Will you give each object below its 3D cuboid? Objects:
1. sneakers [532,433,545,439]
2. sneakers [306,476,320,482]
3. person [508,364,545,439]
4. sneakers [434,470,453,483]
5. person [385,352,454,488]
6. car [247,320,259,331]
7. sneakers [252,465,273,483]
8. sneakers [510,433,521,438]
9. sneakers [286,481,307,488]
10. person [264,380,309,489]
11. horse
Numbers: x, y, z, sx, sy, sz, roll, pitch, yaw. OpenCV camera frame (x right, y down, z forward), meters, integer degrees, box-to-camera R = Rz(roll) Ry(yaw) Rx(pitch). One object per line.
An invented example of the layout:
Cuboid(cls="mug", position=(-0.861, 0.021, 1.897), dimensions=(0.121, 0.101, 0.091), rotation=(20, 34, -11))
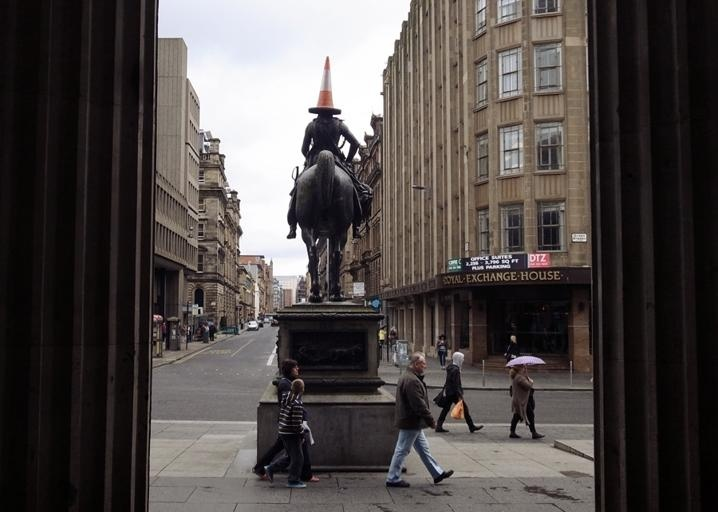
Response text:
Cuboid(cls="sneakers", position=(4.013, 3.966, 17.038), dimensions=(0.165, 0.120, 0.412), rotation=(-7, -9, 39))
Cuboid(cls="sneakers", position=(-0.699, 3.502, 12.102), dimensions=(0.174, 0.089, 0.074), rotation=(1, -4, -18))
Cuboid(cls="person", position=(3.842, 3.307, 17.695), dimensions=(0.721, 1.606, 1.633), rotation=(-2, -7, 12))
Cuboid(cls="sneakers", position=(1.350, 3.488, 12.187), dimensions=(0.270, 0.128, 0.099), rotation=(-30, 28, -16))
Cuboid(cls="person", position=(0.874, 2.564, 12.134), dimensions=(0.907, 2.052, 0.687), rotation=(-2, -6, 6))
Cuboid(cls="car", position=(-15.721, 10.182, 113.798), dimensions=(1.255, 1.220, 2.400), rotation=(-1, -11, -4))
Cuboid(cls="sneakers", position=(-1.498, 3.390, 12.067), dimensions=(0.188, 0.175, 0.473), rotation=(-30, -32, -5))
Cuboid(cls="sneakers", position=(3.486, 3.946, 17.024), dimensions=(0.234, 0.125, 0.245), rotation=(-1, -7, 1))
Cuboid(cls="sneakers", position=(-0.940, 3.455, 11.768), dimensions=(0.248, 0.126, 0.118), rotation=(4, -4, -7))
Cuboid(cls="person", position=(-1.044, 2.714, 11.819), dimensions=(0.454, 1.623, 0.660), rotation=(0, -6, -6))
Cuboid(cls="horse", position=(-0.603, -0.536, 13.906), dimensions=(1.088, 2.690, 1.264), rotation=(0, -6, -5))
